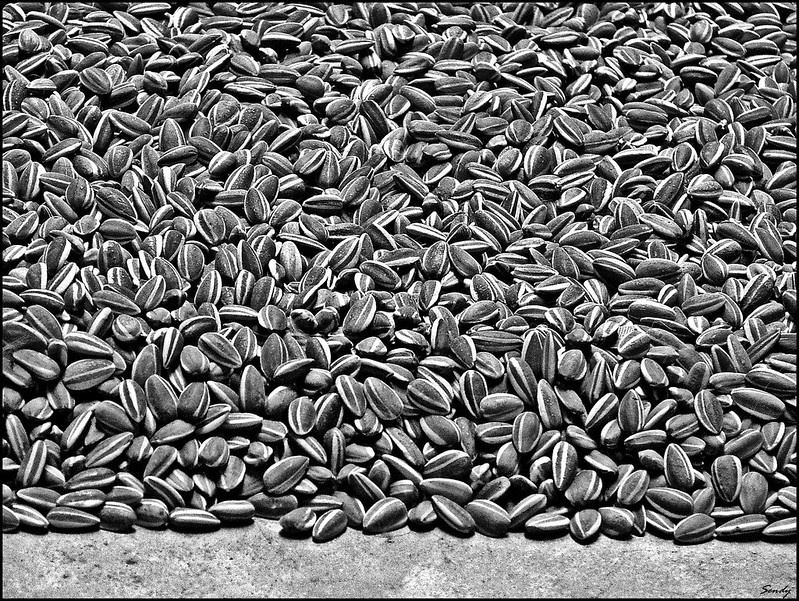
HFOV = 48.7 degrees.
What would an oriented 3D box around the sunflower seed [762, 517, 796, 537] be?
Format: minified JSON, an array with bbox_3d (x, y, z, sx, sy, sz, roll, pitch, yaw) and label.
[{"bbox_3d":[0.730,0.434,1.689,0.074,0.030,0.023,-5,-1,-7],"label":"sunflower seed"}]
